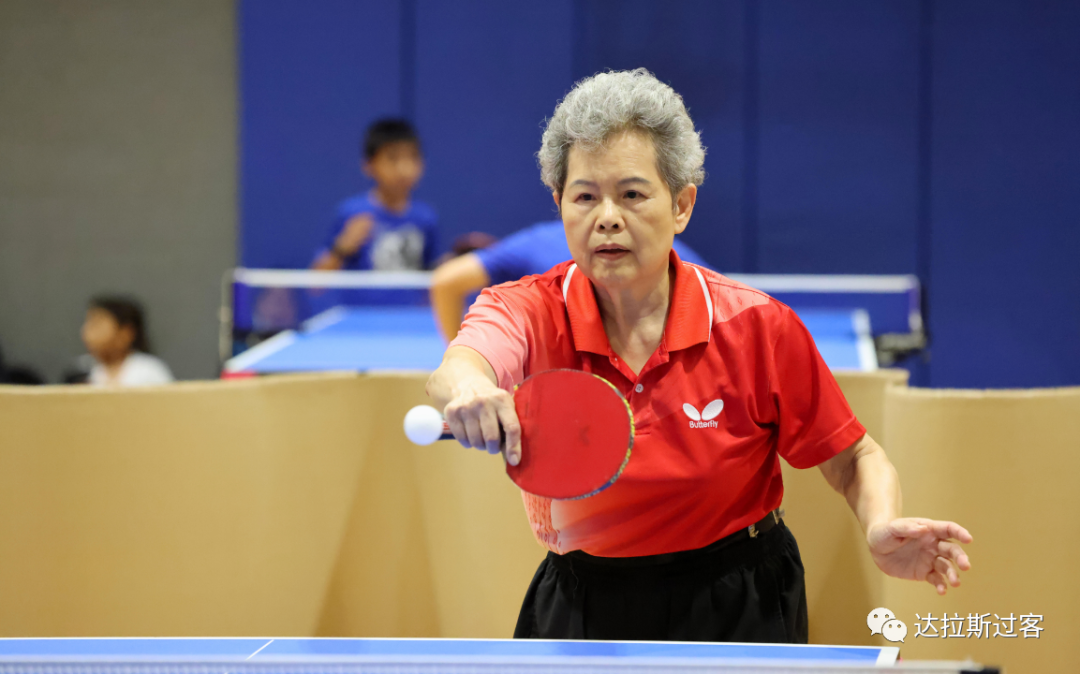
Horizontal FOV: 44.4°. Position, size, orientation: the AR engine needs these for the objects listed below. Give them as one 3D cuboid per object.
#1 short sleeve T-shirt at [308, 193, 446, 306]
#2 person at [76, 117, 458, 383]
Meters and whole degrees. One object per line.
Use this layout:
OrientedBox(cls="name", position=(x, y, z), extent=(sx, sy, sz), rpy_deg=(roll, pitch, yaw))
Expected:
OrientedBox(cls="short sleeve T-shirt", position=(-0.568, -0.385, 5.254), extent=(0.491, 0.278, 0.517), rpy_deg=(-2, -47, -5))
OrientedBox(cls="person", position=(-1.073, -0.391, 5.700), extent=(1.272, 1.661, 0.917), rpy_deg=(0, 6, -7))
